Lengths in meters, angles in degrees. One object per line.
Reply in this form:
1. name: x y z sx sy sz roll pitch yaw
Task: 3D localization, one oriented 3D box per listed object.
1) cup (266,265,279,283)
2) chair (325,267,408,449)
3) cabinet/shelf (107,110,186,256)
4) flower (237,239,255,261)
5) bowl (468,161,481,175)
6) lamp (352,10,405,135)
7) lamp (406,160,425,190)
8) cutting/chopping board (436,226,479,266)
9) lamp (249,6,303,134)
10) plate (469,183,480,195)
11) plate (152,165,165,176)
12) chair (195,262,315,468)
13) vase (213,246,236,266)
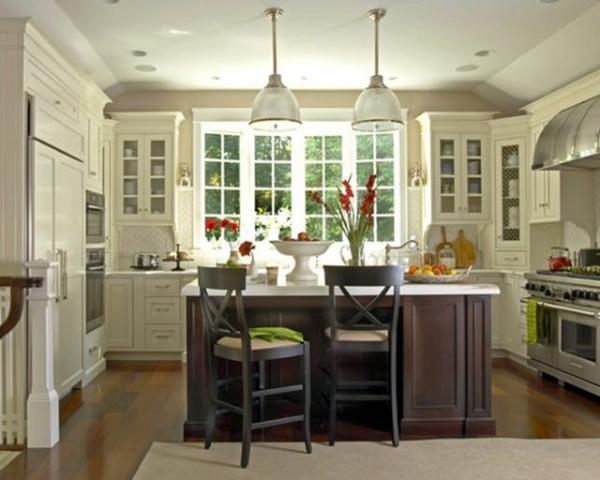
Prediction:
1. cup: -0.226 0.276 4.161 0.102 0.194 0.103 -1 1 0
2. chair: 0.447 0.782 3.650 0.546 1.277 0.669 0 3 8
3. cabinet/shelf: -1.851 -0.655 6.145 0.834 1.757 0.404 -1 3 -15
4. flower: -0.424 0.068 4.087 0.155 0.161 0.100 -18 -7 5
5. bowl: 2.118 -0.889 6.114 0.161 0.154 0.038 -3 -4 1
6. lamp: 0.621 -1.445 4.147 0.385 1.123 0.865 0 3 6
7. lamp: 1.452 -0.827 6.347 0.300 0.404 0.265 1 -3 1
8. cutting/chopping board: 1.984 0.098 6.260 0.401 0.600 0.600 5 -6 -42
9. lamp: -0.216 -1.455 4.184 0.401 1.108 0.914 0 3 -4
10. plate: 2.115 -0.636 6.148 0.119 0.107 0.115 0 2 6
11. plate: -1.708 -0.847 6.103 0.132 0.101 0.133 0 1 -15
12. chair: -0.312 0.793 3.501 0.806 1.275 0.657 0 3 9
13. vase: -0.815 0.160 5.413 0.198 0.334 0.327 1 -7 -2
